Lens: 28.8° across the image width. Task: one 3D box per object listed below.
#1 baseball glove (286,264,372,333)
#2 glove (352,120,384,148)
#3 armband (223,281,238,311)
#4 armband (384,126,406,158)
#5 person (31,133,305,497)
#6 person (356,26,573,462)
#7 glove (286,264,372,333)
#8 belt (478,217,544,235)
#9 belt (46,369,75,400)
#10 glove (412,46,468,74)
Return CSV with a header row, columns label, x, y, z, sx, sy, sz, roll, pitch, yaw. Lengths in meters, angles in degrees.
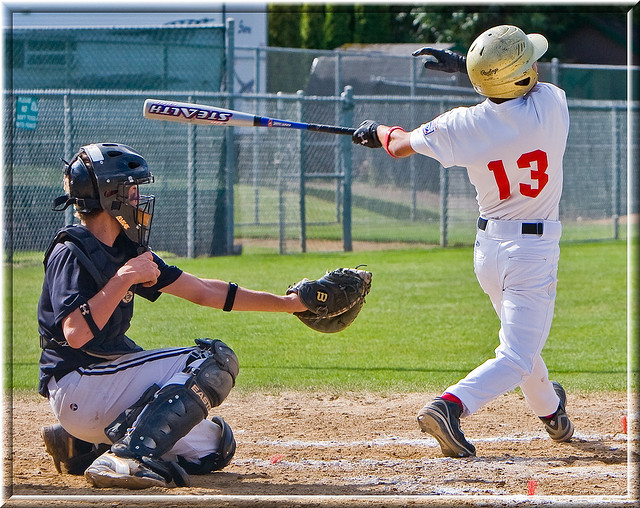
label,x,y,z,sx,sy,sz,roll,pitch,yaw
baseball glove,0.073,0.362,9.583,0.657,0.501,0.242,-1,6,-6
glove,0.398,-0.955,9.925,0.278,0.201,0.184,1,6,19
armband,-0.678,0.333,9.489,0.107,0.228,0.182,-1,6,-2
armband,0.594,-0.880,9.845,0.154,0.234,0.297,0,6,3
person,-1.314,0.452,9.092,1.486,2.500,0.826,-2,6,-12
person,1.270,-0.103,9.318,1.203,3.175,0.690,0,6,3
glove,0.040,0.331,9.851,0.686,0.386,0.837,-3,20,-12
belt,1.436,-0.203,9.355,0.503,0.114,0.087,2,6,22
belt,-1.909,0.949,9.113,0.235,0.215,0.057,2,7,27
glove,0.989,-1.608,10.293,0.428,0.222,0.465,0,6,4
